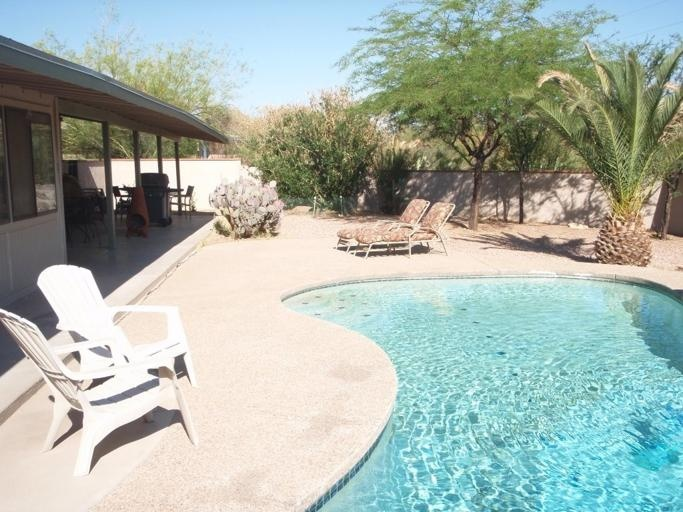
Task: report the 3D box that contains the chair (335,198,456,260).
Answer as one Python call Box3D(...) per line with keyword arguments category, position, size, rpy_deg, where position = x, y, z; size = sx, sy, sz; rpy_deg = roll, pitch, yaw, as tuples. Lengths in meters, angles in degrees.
Box3D(category="chair", position=(1.422, -0.741, 11.496), size=(2.540, 1.226, 2.590), rpy_deg=(6, 13, 21))

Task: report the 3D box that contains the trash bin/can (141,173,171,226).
Box3D(category="trash bin/can", position=(-5.816, -1.780, 14.425), size=(0.764, 1.642, 0.774), rpy_deg=(-5, 14, -24))
